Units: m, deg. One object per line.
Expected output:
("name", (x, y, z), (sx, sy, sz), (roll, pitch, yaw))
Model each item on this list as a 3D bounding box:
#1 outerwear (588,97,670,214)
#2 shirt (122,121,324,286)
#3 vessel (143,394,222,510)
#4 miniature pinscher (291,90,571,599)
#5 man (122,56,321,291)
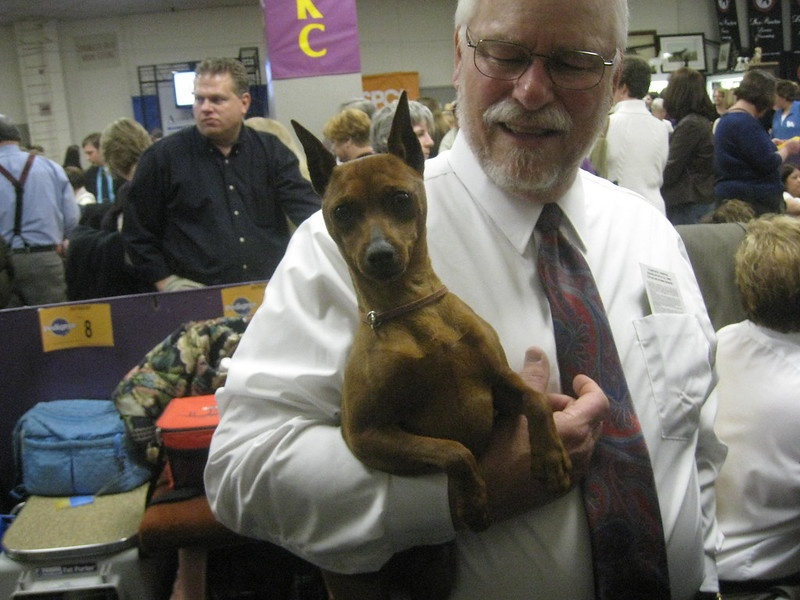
("outerwear", (2.008, -1.185, 5.624), (0.642, 1.008, 0.621), (0, 4, -2))
("shirt", (-1.106, -0.616, 4.386), (1.191, 1.124, 0.652), (-6, 6, -25))
("vessel", (-0.834, 0.598, 2.750), (0.266, 0.317, 0.399), (1, 14, -7))
("miniature pinscher", (0.096, 0.017, 1.559), (0.572, 0.997, 0.288), (0, 10, 6))
("man", (-1.083, -0.586, 4.300), (1.206, 1.923, 0.816), (-6, -2, -19))
